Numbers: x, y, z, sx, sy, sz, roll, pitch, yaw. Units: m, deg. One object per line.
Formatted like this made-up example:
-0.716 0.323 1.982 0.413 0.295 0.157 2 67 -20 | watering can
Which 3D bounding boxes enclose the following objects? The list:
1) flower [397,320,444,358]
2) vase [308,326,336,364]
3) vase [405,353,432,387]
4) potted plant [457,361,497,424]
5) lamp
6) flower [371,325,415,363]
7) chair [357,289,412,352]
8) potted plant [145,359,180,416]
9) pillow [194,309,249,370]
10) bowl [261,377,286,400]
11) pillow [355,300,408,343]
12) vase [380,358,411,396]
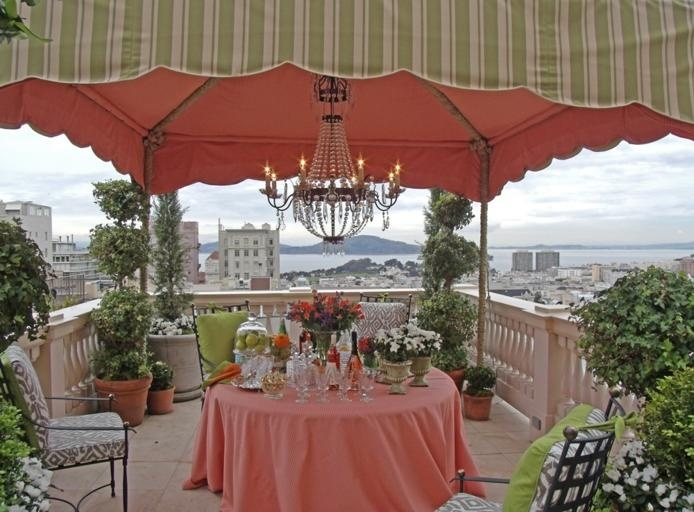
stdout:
0.575 0.651 4.645 0.246 0.181 0.267 5 17 -25 | flower
-0.189 0.705 4.771 0.211 0.314 0.243 0 -2 -7 | vase
0.566 0.901 4.740 0.190 0.282 0.200 0 -4 0 | vase
1.497 1.472 6.618 0.462 0.688 0.423 1 0 -44 | potted plant
-0.127 -0.785 5.156 1.124 1.507 0.732 1 1 -30 | lamp
0.368 0.649 4.633 0.229 0.219 0.250 -1 4 13 | flower
0.432 0.741 6.840 0.425 1.015 0.528 1 2 9 | chair
-2.008 1.440 6.669 0.420 0.706 0.412 2 -2 -34 | potted plant
-1.114 0.747 5.383 0.452 0.521 0.161 6 -17 -40 | pillow
-0.544 0.952 4.373 0.135 0.119 0.155 0 -8 3 | bowl
0.393 0.671 6.581 0.511 0.579 0.336 0 -7 16 | pillow
0.387 0.921 4.564 0.199 0.223 0.215 0 -6 0 | vase
